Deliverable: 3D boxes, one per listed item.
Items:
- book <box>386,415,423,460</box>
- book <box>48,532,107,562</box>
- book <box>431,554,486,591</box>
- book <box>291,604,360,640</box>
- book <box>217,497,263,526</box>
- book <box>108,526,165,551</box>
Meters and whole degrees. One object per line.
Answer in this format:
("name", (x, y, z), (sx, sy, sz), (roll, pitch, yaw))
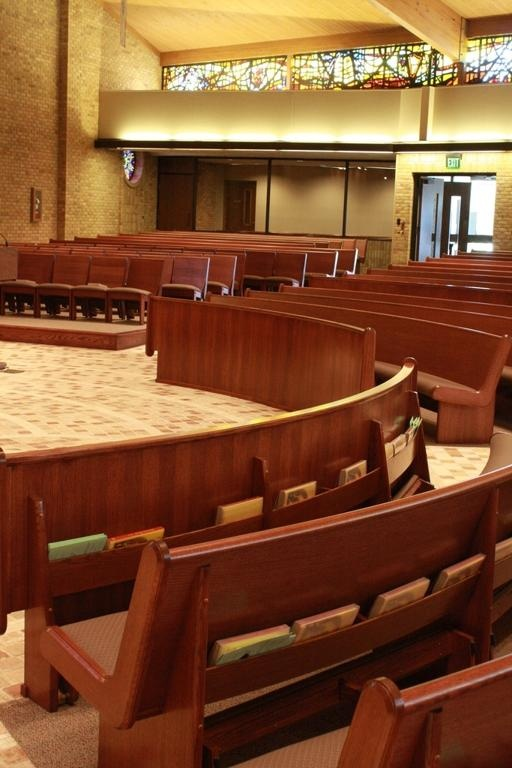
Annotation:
("book", (0.741, 0.270, 2.682), (0.080, 0.177, 0.232), (28, 38, -5))
("book", (-0.458, 0.419, 1.399), (0.162, 0.060, 0.017), (-7, 13, -38))
("book", (0.494, 0.453, 1.303), (0.168, 0.066, 0.036), (-6, 13, -35))
("book", (0.131, 0.455, 1.042), (0.108, 0.050, 0.022), (-4, 9, -30))
("book", (-0.053, 0.410, 1.749), (0.102, 0.064, 0.020), (-6, 10, -35))
("book", (-0.335, 0.429, 1.526), (0.148, 0.063, 0.142), (0, 10, -8))
